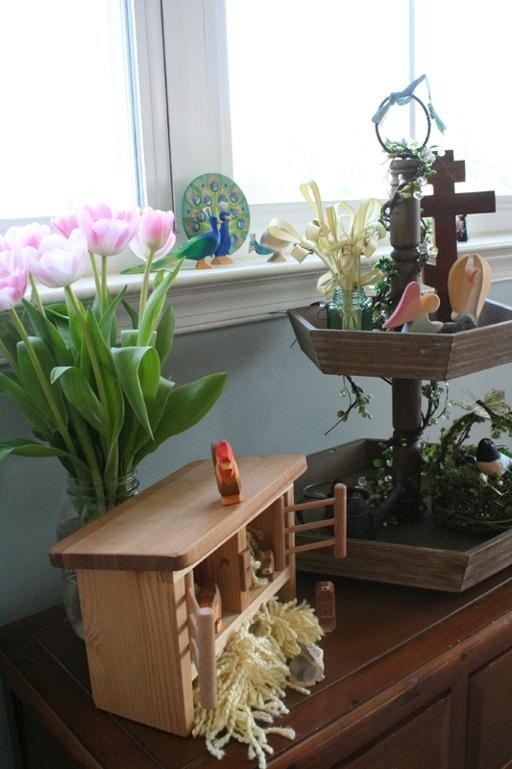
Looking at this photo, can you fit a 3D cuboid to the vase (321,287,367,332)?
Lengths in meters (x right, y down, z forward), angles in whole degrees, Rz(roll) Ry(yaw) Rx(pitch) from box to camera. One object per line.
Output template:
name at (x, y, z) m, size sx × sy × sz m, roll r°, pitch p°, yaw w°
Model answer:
vase at (0.111, -0.089, 0.724) m, size 0.052 × 0.061 × 0.046 m, roll 1°, pitch 9°, yaw 18°

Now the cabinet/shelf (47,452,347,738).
cabinet/shelf at (-0.036, 0.171, 0.516) m, size 0.157 × 0.170 × 0.240 m, roll 5°, pitch 15°, yaw 27°
